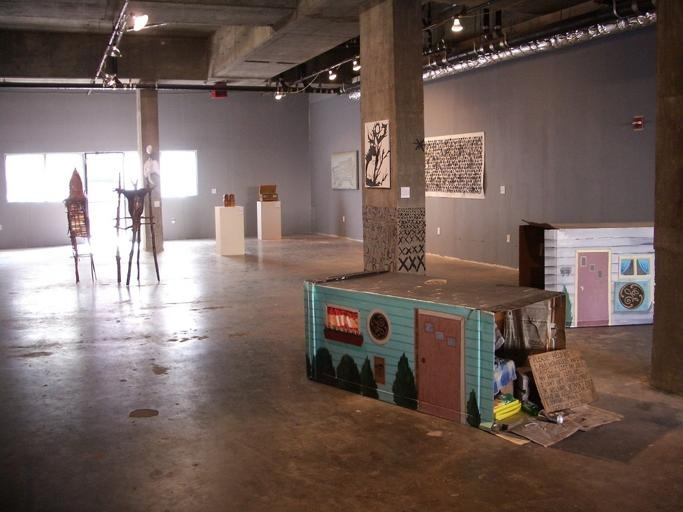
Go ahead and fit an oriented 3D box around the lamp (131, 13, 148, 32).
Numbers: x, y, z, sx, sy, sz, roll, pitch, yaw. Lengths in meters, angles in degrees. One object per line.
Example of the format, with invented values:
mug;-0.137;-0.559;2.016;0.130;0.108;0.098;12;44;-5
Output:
lamp;-3.275;-3.860;8.266;0.229;0.298;0.573;-4;9;-18
